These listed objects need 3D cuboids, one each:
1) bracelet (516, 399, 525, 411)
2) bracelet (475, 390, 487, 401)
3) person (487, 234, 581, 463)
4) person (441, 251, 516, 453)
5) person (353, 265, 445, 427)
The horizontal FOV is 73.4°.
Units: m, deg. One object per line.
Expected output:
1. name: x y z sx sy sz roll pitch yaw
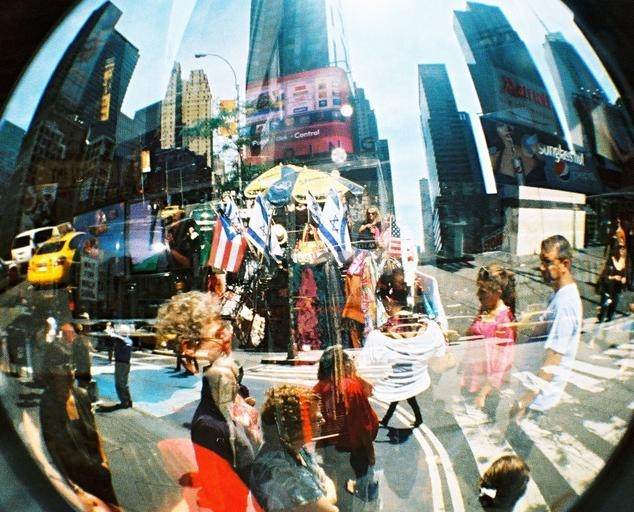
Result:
1. bracelet: 1.871 1.376 3.884 0.071 0.088 0.022 14 -8 29
2. bracelet: 1.538 1.299 3.934 0.127 0.142 0.019 -4 -1 -11
3. person: 2.034 0.844 3.817 0.734 2.141 0.206 -4 -1 2
4. person: 1.601 1.065 4.082 0.796 1.783 0.583 -1 9 -5
5. person: 0.781 0.896 3.997 0.798 1.413 0.298 -4 -1 -8
